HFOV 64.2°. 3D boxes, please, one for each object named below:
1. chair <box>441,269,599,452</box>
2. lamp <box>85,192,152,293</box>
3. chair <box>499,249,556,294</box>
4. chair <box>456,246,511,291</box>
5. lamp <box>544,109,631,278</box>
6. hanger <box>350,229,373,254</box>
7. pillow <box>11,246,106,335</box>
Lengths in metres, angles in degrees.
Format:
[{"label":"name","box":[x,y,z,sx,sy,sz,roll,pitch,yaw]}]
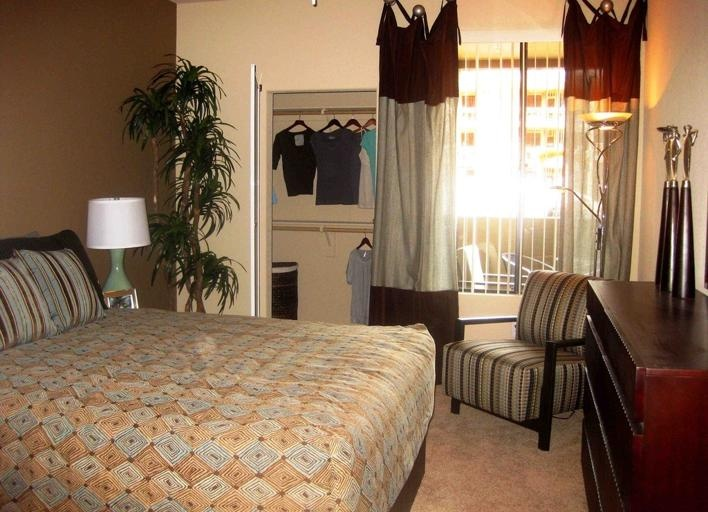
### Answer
[{"label":"chair","box":[1.179,0.616,3.921,0.911,1.058,0.857,1,3,-27]},{"label":"lamp","box":[-1.737,-0.078,4.132,0.416,0.727,0.416,17,19,40]},{"label":"chair","box":[1.488,0.140,4.832,0.369,0.346,0.312,1,9,6]},{"label":"chair","box":[1.156,0.038,5.014,0.438,0.514,0.372,0,17,15]},{"label":"lamp","box":[1.813,-0.470,4.338,0.451,1.269,0.518,8,13,27]},{"label":"hanger","box":[0.074,-0.153,5.724,0.212,0.173,0.010,9,9,34]},{"label":"pillow","box":[-1.731,0.178,3.304,0.118,0.462,0.428,-21,5,16]}]
